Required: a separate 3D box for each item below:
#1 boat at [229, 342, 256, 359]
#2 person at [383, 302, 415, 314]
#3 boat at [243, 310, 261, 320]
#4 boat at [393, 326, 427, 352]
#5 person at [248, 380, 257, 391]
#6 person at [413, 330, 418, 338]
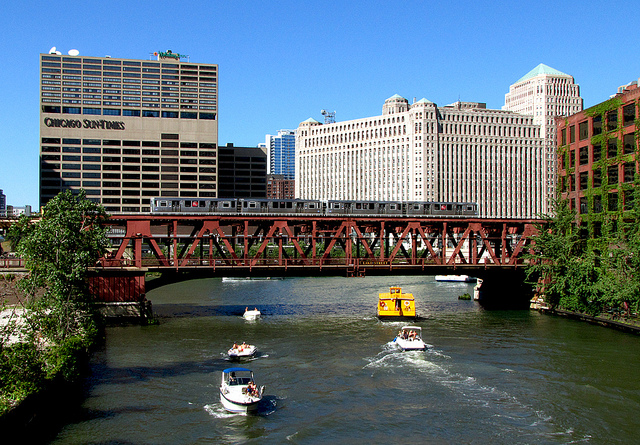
[{"bbox_3d":[-8.754,14.578,86.589,2.728,1.035,1.952,0,12,-6],"label":"boat"},{"bbox_3d":[10.662,11.725,104.359,4.255,1.497,0.711,1,12,-1],"label":"person"},{"bbox_3d":[-9.316,12.795,105.480,2.065,0.695,3.569,1,12,-1],"label":"boat"},{"bbox_3d":[10.641,14.326,89.811,3.563,1.064,2.684,3,12,10],"label":"boat"},{"bbox_3d":[-6.708,16.110,75.670,0.849,0.754,2.295,1,5,-10],"label":"person"},{"bbox_3d":[11.278,13.403,91.903,0.215,0.809,0.821,3,2,10],"label":"person"}]
